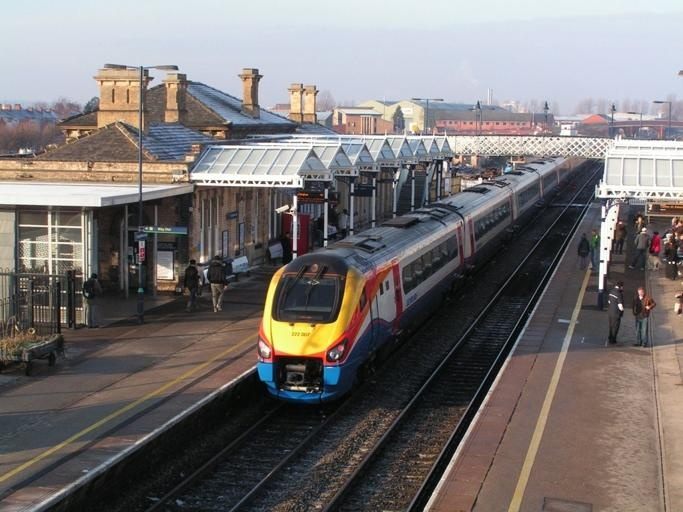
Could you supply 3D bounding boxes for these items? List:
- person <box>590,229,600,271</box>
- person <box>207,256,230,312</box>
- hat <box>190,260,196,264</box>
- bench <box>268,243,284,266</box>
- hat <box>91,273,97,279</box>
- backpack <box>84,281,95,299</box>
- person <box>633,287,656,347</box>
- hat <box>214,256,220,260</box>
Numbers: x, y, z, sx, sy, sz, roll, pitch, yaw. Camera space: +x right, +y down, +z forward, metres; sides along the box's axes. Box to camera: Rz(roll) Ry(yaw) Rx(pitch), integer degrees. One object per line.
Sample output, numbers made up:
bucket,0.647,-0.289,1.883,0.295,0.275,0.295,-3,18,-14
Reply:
person,10.799,-0.304,32.693,0.364,1.447,1.839,4,11,20
person,-4.069,0.837,25.024,0.527,1.907,1.267,-1,11,-10
hat,-4.890,0.194,24.927,0.151,0.127,0.219,7,-3,32
bench,-2.978,-0.115,35.304,0.351,0.695,2.244,-2,4,2
hat,-7.439,0.607,23.056,0.123,0.151,0.165,7,2,-8
backpack,-7.426,1.026,22.830,0.305,0.445,0.453,0,-1,-4
person,8.475,1.684,21.622,0.520,1.732,1.071,5,11,22
hat,-3.977,0.068,24.405,0.110,0.123,0.151,4,16,0
